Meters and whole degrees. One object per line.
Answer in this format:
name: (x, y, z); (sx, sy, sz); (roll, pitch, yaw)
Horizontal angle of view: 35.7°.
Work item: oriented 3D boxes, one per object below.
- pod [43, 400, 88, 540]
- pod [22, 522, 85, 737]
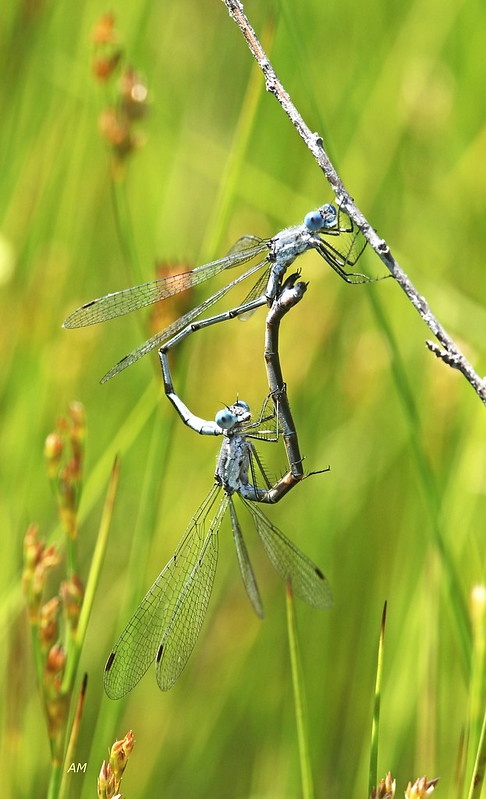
pod: (-0.451, 0.199, 1.994); (0.098, 0.104, 0.365); (-20, -52, -23)
pod: (-0.509, 0.599, 1.991); (0.167, 0.182, 0.517); (-12, -65, -20)
